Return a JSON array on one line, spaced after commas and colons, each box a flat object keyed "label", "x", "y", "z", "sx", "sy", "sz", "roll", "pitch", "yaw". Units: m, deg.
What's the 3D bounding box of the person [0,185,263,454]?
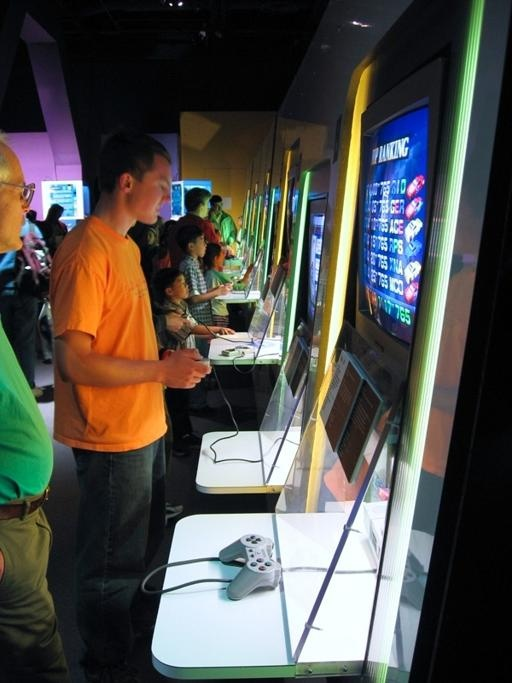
[{"label": "person", "x": -0.387, "y": -0.092, "z": 1.658, "sx": 0.523, "sy": 0.867, "sz": 0.744, "roll": -1, "pitch": 10, "yaw": -3}]

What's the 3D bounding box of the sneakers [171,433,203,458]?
[{"label": "sneakers", "x": -0.460, "y": 0.690, "z": 3.372, "sx": 0.114, "sy": 0.144, "sz": 0.360, "roll": 6, "pitch": 12, "yaw": 8}]
